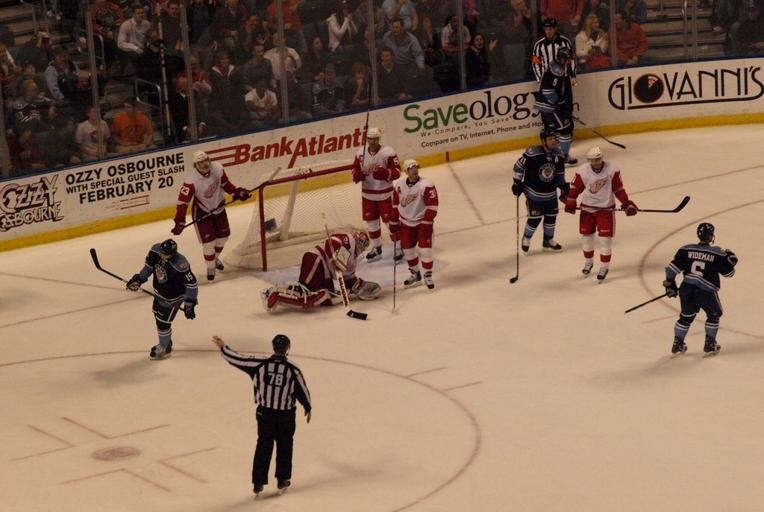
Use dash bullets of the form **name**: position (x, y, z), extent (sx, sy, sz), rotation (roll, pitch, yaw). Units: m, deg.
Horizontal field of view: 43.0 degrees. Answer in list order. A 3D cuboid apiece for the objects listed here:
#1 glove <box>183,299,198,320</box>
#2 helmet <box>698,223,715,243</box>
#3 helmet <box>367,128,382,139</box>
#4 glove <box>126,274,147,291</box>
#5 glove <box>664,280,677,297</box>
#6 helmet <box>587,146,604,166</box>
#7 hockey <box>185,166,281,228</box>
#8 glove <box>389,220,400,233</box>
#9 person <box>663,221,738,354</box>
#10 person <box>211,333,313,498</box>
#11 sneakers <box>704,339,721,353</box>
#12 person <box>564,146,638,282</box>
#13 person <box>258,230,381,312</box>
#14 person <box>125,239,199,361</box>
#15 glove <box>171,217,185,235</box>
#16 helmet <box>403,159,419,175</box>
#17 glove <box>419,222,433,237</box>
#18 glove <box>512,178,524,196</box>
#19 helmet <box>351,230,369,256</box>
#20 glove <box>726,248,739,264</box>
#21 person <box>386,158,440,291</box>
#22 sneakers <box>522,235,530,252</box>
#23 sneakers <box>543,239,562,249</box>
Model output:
- **glove**: position (-2.344, 0.652, 11.964), extent (0.191, 0.243, 0.070), rotation (-3, 3, 26)
- **helmet**: position (3.816, -0.271, 11.453), extent (0.212, 0.250, 0.258), rotation (5, 34, 13)
- **helmet**: position (-0.128, -1.846, 14.523), extent (0.162, 0.173, 0.202), rotation (1, 13, 5)
- **glove**: position (-3.092, 0.299, 12.168), extent (0.238, 0.233, 0.082), rotation (-29, 35, 14)
- **glove**: position (3.408, 0.385, 11.453), extent (0.140, 0.175, 0.194), rotation (15, 27, 38)
- **helmet**: position (2.902, -1.405, 13.403), extent (0.248, 0.281, 0.310), rotation (2, 32, 19)
- **hockey**: position (-2.342, -0.905, 14.986), extent (2.217, 0.103, 0.306), rotation (-24, -20, -7)
- **glove**: position (0.177, -0.452, 14.393), extent (0.184, 0.172, 0.186), rotation (14, 25, 38)
- **person**: position (3.764, 0.409, 11.483), extent (0.806, 1.591, 0.353), rotation (-3, 15, 17)
- **person**: position (-1.078, 1.584, 9.730), extent (0.694, 1.558, 0.446), rotation (-10, 14, -11)
- **sneakers**: position (3.940, 1.082, 11.624), extent (0.146, 0.133, 0.071), rotation (-19, 46, -6)
- **person**: position (3.027, -0.602, 13.523), extent (0.946, 1.843, 0.533), rotation (-3, 15, 16)
- **person**: position (-0.729, 0.184, 13.340), extent (1.374, 1.407, 0.835), rotation (14, -2, -24)
- **person**: position (-2.698, 0.529, 12.112), extent (0.720, 1.529, 0.859), rotation (-17, 17, -34)
- **glove**: position (-2.966, -0.435, 14.089), extent (0.175, 0.259, 0.109), rotation (8, -15, -8)
- **helmet**: position (0.397, -1.228, 13.409), extent (0.171, 0.217, 0.290), rotation (-7, 13, 0)
- **glove**: position (0.607, -0.375, 13.476), extent (0.209, 0.167, 0.323), rotation (8, 5, 6)
- **glove**: position (1.989, -1.019, 14.235), extent (0.172, 0.270, 0.316), rotation (-5, 13, 8)
- **helmet**: position (-0.320, -0.190, 13.453), extent (0.214, 0.312, 0.352), rotation (1, 15, 19)
- **glove**: position (4.281, 0.005, 11.888), extent (0.140, 0.190, 0.075), rotation (-6, 37, 52)
- **person**: position (0.484, -0.471, 13.685), extent (0.589, 1.824, 0.705), rotation (-8, 14, -5)
- **sneakers**: position (2.140, -0.189, 14.558), extent (0.127, 0.218, 0.084), rotation (4, 9, 5)
- **sneakers**: position (2.552, -0.185, 14.619), extent (0.256, 0.095, 0.138), rotation (9, 17, 43)
